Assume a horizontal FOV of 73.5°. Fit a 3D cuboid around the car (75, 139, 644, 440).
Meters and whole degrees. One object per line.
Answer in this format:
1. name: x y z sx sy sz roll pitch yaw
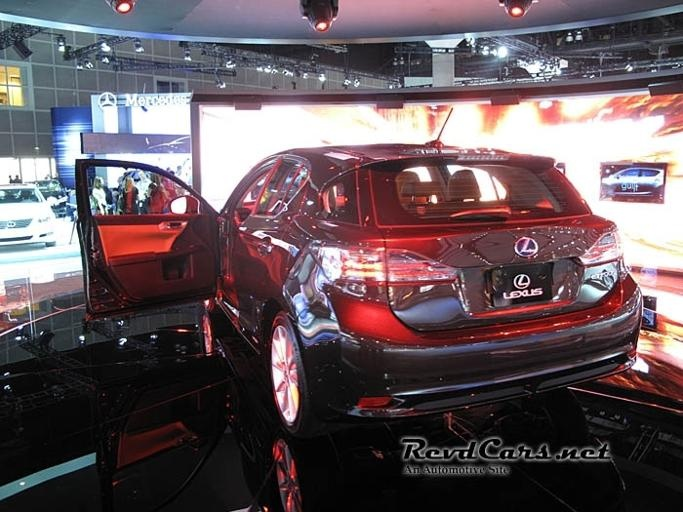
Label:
1. car: -0.125 0.026 3.324 2.825 0.955 2.916 -4 14 -31
